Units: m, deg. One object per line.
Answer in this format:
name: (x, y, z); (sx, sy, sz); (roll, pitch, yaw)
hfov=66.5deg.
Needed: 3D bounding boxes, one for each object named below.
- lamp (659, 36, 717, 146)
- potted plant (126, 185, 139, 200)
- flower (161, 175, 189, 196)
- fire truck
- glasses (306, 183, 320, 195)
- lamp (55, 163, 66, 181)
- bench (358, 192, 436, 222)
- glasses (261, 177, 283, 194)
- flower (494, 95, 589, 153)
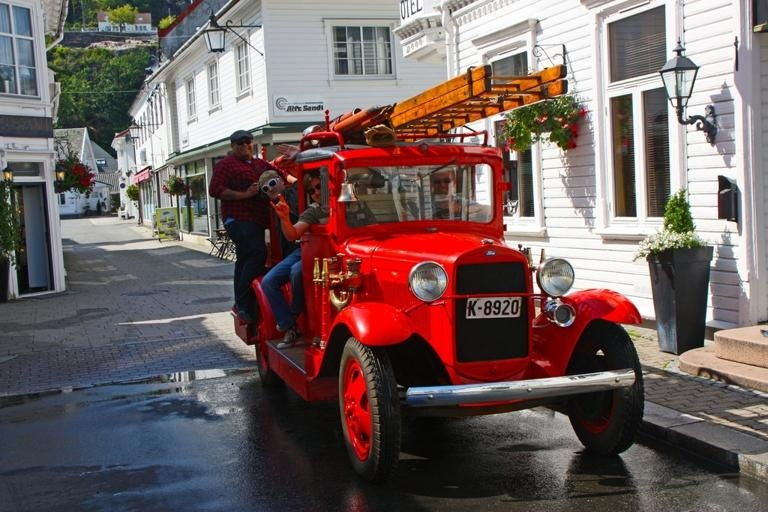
lamp: (4.257, -2.293, 8.277); (0.704, 1.503, 0.438); (-1, 6, 18)
potted plant: (-20.812, -5.361, 49.359); (0.574, 1.230, 2.485); (-5, 6, -31)
flower: (-10.779, -3.767, 30.928); (0.833, 0.981, 2.122); (-5, 5, -26)
fire truck: (0.765, 0.182, 6.628); (2.735, 3.249, 5.730); (-2, 2, -22)
glasses: (-0.781, -0.774, 6.603); (0.147, 0.147, 0.046); (0, 19, 36)
lamp: (-10.751, -2.830, 19.677); (0.226, 0.604, 1.074); (-5, 5, -27)
bench: (0.142, -0.549, 6.127); (0.725, 0.291, 0.184); (-4, 11, -4)
glasses: (-1.236, -0.774, 6.526); (0.235, 0.096, 0.301); (-7, 8, -17)
flower: (2.833, -2.339, 10.615); (1.126, 0.595, 0.993); (-13, 14, 1)
